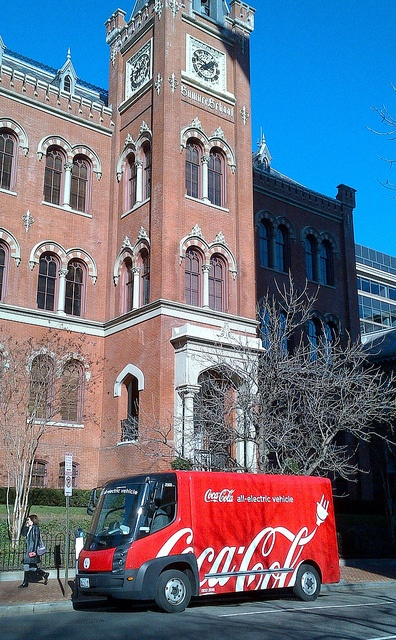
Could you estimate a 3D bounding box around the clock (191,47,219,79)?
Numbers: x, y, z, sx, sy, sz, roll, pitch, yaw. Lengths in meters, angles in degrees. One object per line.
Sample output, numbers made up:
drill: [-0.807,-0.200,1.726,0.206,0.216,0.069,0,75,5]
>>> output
clock: [0.241,-10.624,26.220,0.066,1.582,1.558,-24,4,42]

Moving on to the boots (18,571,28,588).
boots: [-3.400,5.107,12.404,0.156,0.374,0.159,4,11,-15]
